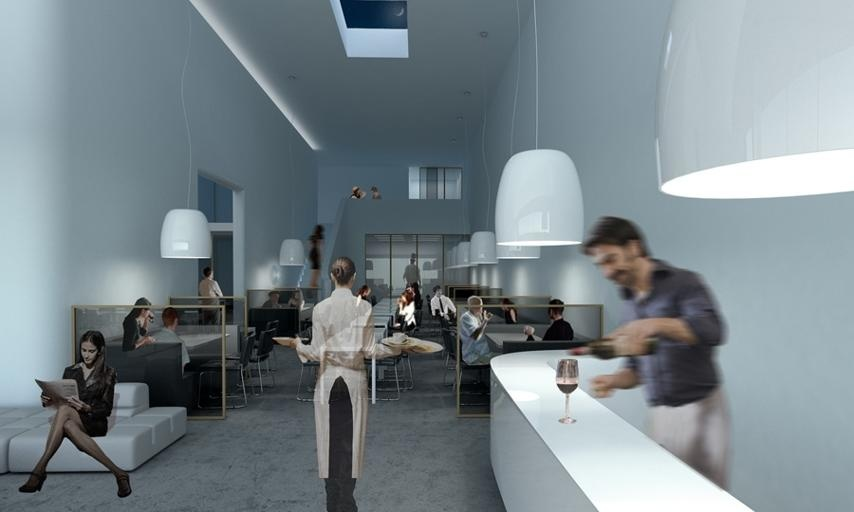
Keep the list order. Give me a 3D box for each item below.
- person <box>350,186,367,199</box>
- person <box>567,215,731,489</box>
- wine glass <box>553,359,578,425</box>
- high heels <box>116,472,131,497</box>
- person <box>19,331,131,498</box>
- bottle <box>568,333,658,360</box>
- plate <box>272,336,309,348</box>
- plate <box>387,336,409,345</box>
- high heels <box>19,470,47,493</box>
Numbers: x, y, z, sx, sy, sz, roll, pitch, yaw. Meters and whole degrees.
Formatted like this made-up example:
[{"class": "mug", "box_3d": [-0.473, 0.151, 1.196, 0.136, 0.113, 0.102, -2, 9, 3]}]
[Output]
[{"class": "person", "box_3d": [-2.159, -2.036, 17.124, 0.571, 0.324, 0.749, -1, -2, -5]}, {"class": "person", "box_3d": [1.582, 0.645, 3.792, 0.944, 1.793, 0.569, 4, 8, 29]}, {"class": "wine glass", "box_3d": [0.961, 0.875, 3.790, 0.127, 0.443, 0.352, 2, 7, 16]}, {"class": "high heels", "box_3d": [-2.836, 2.127, 5.168, 0.100, 0.089, 0.249, 1, 8, -22]}, {"class": "person", "box_3d": [-3.276, 1.466, 5.268, 0.970, 1.437, 0.392, 0, 7, 0]}, {"class": "bottle", "box_3d": [1.429, 0.682, 4.175, 0.662, 0.173, 0.146, -1, 1, -25]}, {"class": "plate", "box_3d": [-1.031, 0.644, 4.209, 0.218, 0.074, 0.195, -3, 6, -26]}, {"class": "plate", "box_3d": [-0.282, 0.805, 5.319, 0.198, 0.054, 0.195, 3, -8, -42]}, {"class": "high heels", "box_3d": [-3.677, 2.106, 5.191, 0.145, 0.109, 0.279, 0, -12, -5]}]
